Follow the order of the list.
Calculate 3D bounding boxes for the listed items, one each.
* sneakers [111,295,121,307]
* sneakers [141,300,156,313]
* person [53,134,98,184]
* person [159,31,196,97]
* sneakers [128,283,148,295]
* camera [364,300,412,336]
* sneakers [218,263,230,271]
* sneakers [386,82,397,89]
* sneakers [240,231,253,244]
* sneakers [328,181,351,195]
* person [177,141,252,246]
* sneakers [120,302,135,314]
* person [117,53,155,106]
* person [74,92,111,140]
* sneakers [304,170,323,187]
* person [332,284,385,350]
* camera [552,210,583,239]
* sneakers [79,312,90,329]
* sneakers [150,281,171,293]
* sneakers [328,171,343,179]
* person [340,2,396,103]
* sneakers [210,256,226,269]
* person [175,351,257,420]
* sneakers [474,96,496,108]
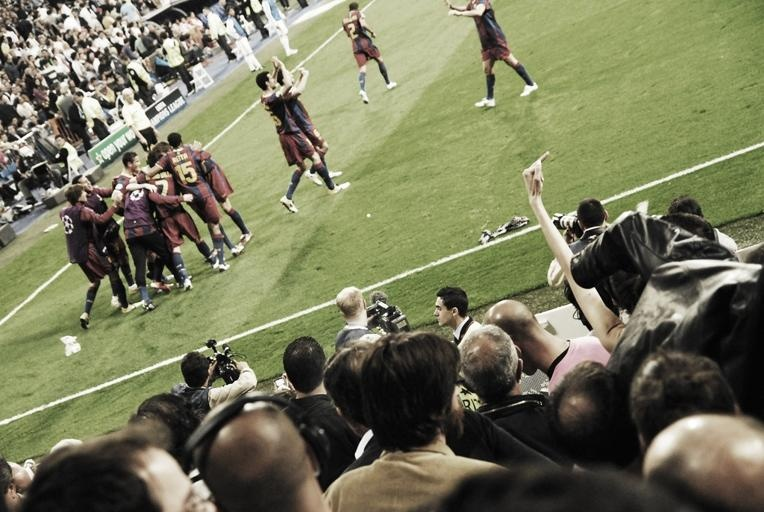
[{"bbox_3d":[-4.414,0.745,13.610,0.167,0.216,0.191,4,5,2],"label":"sneakers"},{"bbox_3d":[-3.763,0.799,13.249,0.109,0.133,0.313,-9,6,-22],"label":"sneakers"},{"bbox_3d":[-7.198,-2.229,18.853,0.507,1.246,0.453,-11,42,-19],"label":"person"},{"bbox_3d":[-5.500,-5.180,22.015,0.459,1.565,0.452,-7,21,45],"label":"person"},{"bbox_3d":[-3.992,0.538,13.486,0.149,0.186,0.424,-36,24,-34],"label":"sneakers"},{"bbox_3d":[-0.027,0.774,9.589,0.186,0.365,0.833,-17,9,-32],"label":"camera"},{"bbox_3d":[-2.581,0.179,13.407,0.083,0.097,0.214,2,13,9],"label":"sneakers"},{"bbox_3d":[0.192,-3.328,16.106,0.104,0.082,0.187,-39,12,-10],"label":"sneakers"},{"bbox_3d":[-2.283,-0.293,13.757,0.092,0.114,0.268,-4,41,40],"label":"sneakers"},{"bbox_3d":[-0.704,-1.155,13.914,0.376,0.153,0.151,-24,21,7],"label":"sneakers"},{"bbox_3d":[-2.602,-1.072,13.496,0.539,1.816,1.008,-34,11,5],"label":"person"},{"bbox_3d":[-4.136,0.852,13.419,0.231,0.098,0.107,-13,19,1],"label":"sneakers"},{"bbox_3d":[-6.208,-4.453,21.080,0.497,1.541,0.644,-13,40,-2],"label":"person"},{"bbox_3d":[-7.090,-3.506,20.205,0.504,1.221,1.116,-32,15,-13],"label":"person"},{"bbox_3d":[-1.169,-1.342,14.213,0.137,0.303,0.110,-51,-1,28],"label":"sneakers"},{"bbox_3d":[-0.280,0.744,9.739,0.642,0.797,0.449,-12,31,14],"label":"person"},{"bbox_3d":[2.265,-0.320,9.868,0.126,0.328,0.303,-55,18,13],"label":"camera"},{"bbox_3d":[-4.811,1.036,13.336,0.128,0.324,0.139,1,25,-9],"label":"sneakers"},{"bbox_3d":[-3.650,0.489,13.497,0.427,0.192,0.141,3,72,27],"label":"sneakers"},{"bbox_3d":[-0.811,-1.418,14.416,0.285,0.116,0.100,0,30,21],"label":"sneakers"},{"bbox_3d":[-0.393,-3.946,15.992,0.760,1.412,1.157,-27,15,5],"label":"person"},{"bbox_3d":[-2.672,0.118,13.497,0.143,0.154,0.338,1,14,4],"label":"sneakers"},{"bbox_3d":[-1.792,1.399,8.855,0.526,0.761,0.429,14,52,5],"label":"person"},{"bbox_3d":[1.772,-2.659,14.169,0.298,0.122,0.162,5,20,27],"label":"sneakers"}]
